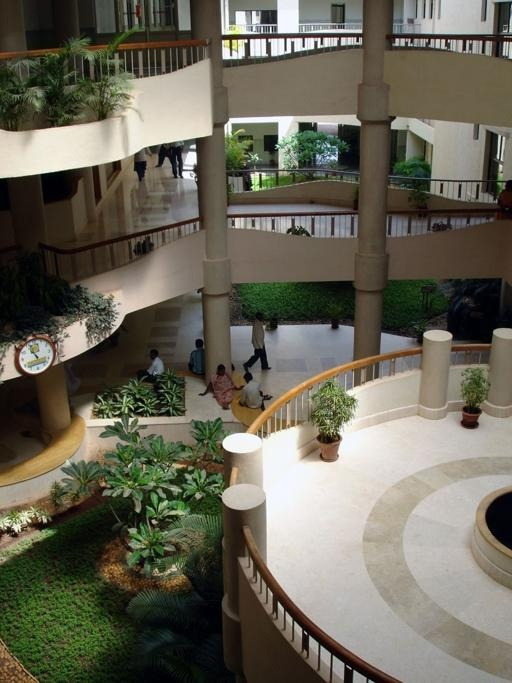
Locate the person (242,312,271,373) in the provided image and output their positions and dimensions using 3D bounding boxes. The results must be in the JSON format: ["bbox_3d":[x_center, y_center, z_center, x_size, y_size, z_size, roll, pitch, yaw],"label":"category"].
[{"bbox_3d":[0.060,-0.039,13.936,0.732,1.792,1.481,1,11,2],"label":"person"}]

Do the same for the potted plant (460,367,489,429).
[{"bbox_3d":[3.209,0.835,7.014,0.381,0.861,0.736,6,12,26],"label":"potted plant"}]

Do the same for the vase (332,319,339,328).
[{"bbox_3d":[2.844,-0.634,16.991,0.275,0.344,0.318,1,11,1],"label":"vase"}]

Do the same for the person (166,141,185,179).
[{"bbox_3d":[-3.218,-7.270,19.125,0.496,1.553,1.496,-1,11,-13],"label":"person"}]

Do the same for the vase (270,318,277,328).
[{"bbox_3d":[0.644,-0.661,17.011,0.273,0.298,0.252,3,17,-2],"label":"vase"}]

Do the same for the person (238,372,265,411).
[{"bbox_3d":[-0.120,1.177,10.876,0.630,0.879,0.653,-16,45,-10],"label":"person"}]

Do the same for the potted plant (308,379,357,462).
[{"bbox_3d":[0.992,1.050,6.167,0.570,1.028,0.630,2,11,8],"label":"potted plant"}]

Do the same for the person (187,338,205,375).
[{"bbox_3d":[-1.643,0.469,13.265,0.440,1.052,0.424,1,10,-2],"label":"person"}]

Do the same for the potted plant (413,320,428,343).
[{"bbox_3d":[5.111,-0.320,14.779,0.507,0.709,0.504,9,30,23],"label":"potted plant"}]

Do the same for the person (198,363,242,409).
[{"bbox_3d":[-0.838,1.161,12.145,0.991,0.584,1.062,-3,36,-13],"label":"person"}]
